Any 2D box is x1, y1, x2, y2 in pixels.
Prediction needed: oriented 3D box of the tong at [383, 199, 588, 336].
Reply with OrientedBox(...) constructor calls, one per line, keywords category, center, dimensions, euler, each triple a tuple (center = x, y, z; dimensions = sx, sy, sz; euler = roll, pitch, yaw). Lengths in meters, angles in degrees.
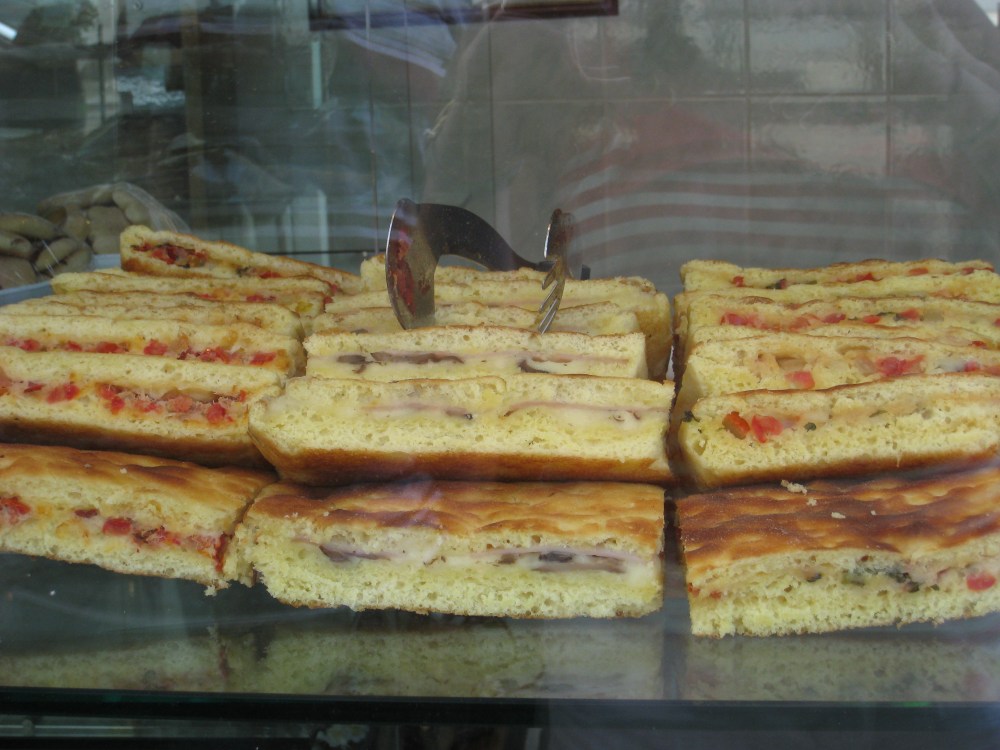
OrientedBox(category="tong", center=(0.024, -0.246, 2.303), dimensions=(0.557, 0.191, 0.209), euler=(0, -23, -10))
